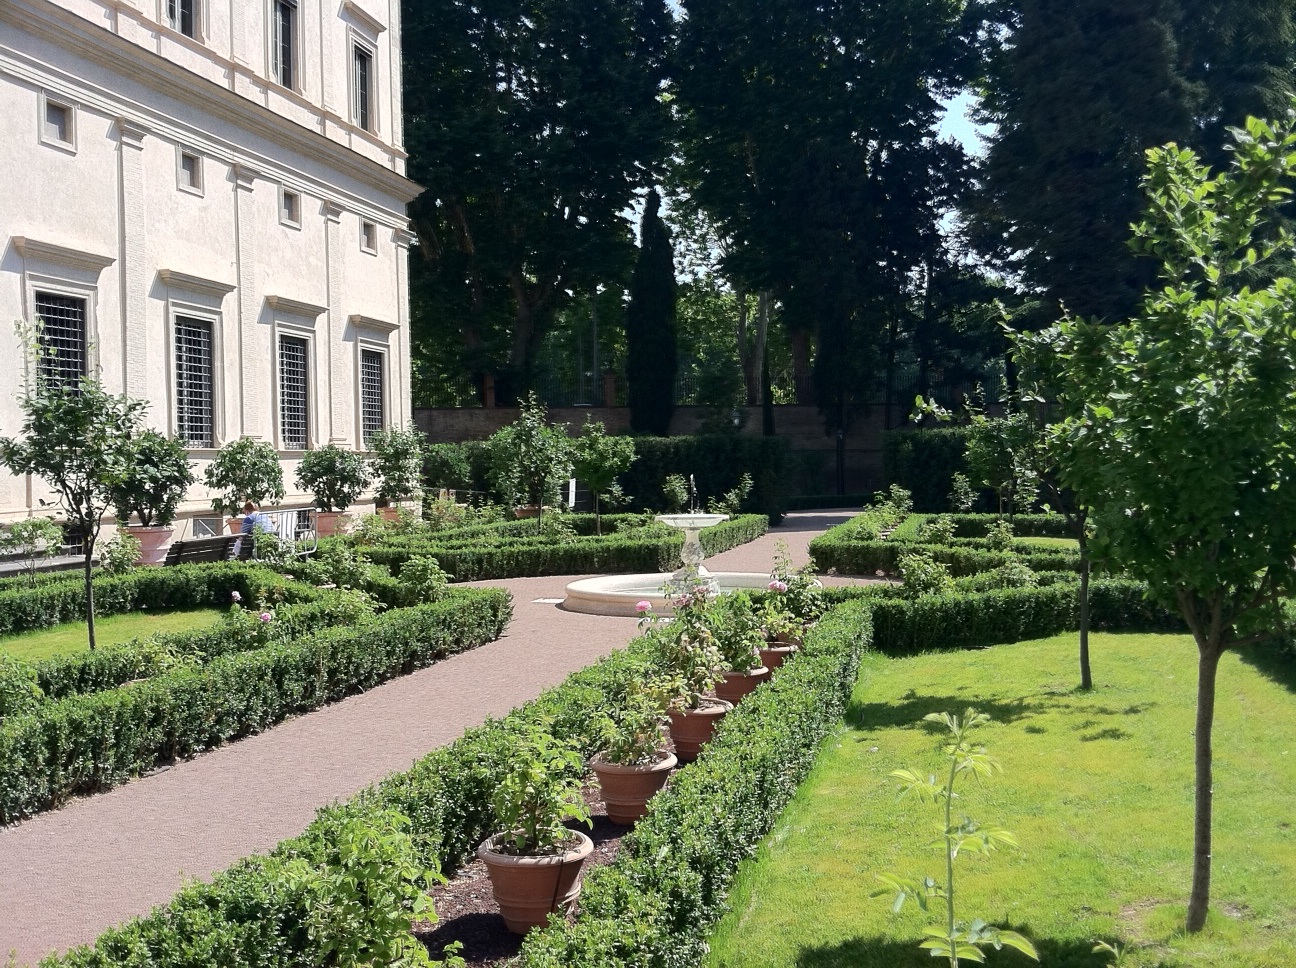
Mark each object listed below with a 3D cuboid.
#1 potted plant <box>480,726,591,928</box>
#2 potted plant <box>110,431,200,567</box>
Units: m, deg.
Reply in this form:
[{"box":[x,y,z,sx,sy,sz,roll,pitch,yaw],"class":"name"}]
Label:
[{"box":[-1.104,3.411,14.406,1.127,1.760,1.185,-3,-5,25],"class":"potted plant"},{"box":[-8.170,0.532,23.982,1.338,1.924,1.349,5,-33,-23],"class":"potted plant"}]
